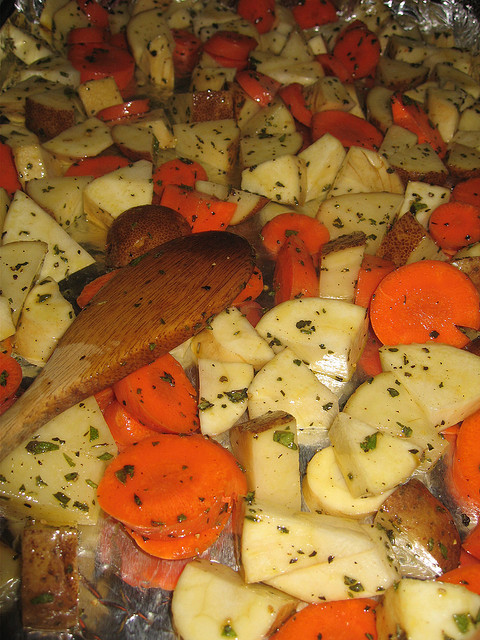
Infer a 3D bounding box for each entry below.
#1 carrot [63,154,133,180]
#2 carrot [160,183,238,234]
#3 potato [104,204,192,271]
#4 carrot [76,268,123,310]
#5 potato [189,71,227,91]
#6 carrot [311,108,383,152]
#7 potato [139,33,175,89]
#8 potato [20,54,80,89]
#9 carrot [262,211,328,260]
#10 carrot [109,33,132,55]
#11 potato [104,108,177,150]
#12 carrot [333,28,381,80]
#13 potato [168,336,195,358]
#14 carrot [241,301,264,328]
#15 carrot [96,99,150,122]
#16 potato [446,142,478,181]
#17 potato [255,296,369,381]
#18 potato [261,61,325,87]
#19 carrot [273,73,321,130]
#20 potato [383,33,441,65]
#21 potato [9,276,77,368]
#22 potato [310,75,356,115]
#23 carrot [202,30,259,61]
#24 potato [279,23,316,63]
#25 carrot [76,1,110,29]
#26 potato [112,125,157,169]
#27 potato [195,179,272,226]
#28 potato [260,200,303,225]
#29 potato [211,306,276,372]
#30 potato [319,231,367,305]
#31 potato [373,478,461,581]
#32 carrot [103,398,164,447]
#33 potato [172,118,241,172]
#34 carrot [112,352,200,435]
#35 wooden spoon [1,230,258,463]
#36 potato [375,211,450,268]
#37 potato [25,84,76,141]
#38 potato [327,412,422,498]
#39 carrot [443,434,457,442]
[{"bbox_3d":[-0.430,-0.451,1.912,0.151,0.015,0.099,-23,52,-19],"label":"carrot"},{"bbox_3d":[-0.150,-0.324,1.821,0.201,0.058,0.205,34,19,35],"label":"carrot"},{"bbox_3d":[-0.203,-0.230,1.749,0.230,0.200,0.118,-3,56,60],"label":"potato"},{"bbox_3d":[-0.339,-0.085,1.664,0.123,0.024,0.065,-21,66,-19],"label":"carrot"},{"bbox_3d":[-0.107,-0.778,2.136,0.102,0.034,0.101,25,40,15],"label":"potato"},{"bbox_3d":[0.327,-0.585,2.086,0.244,0.055,0.144,7,63,-12],"label":"carrot"},{"bbox_3d":[-0.275,-0.880,2.239,0.112,0.163,0.060,1,54,-27],"label":"potato"},{"bbox_3d":[-0.607,-0.806,2.112,0.174,0.043,0.140,-5,49,-8],"label":"potato"},{"bbox_3d":[0.155,-0.230,1.877,0.213,0.180,0.062,-18,68,19],"label":"carrot"},{"bbox_3d":[-0.417,-0.978,2.325,0.096,0.088,0.083,0,19,-7],"label":"carrot"},{"bbox_3d":[-0.309,-0.602,2.033,0.261,0.117,0.155,-10,24,-2],"label":"potato"},{"bbox_3d":[0.423,-0.939,2.369,0.222,0.187,0.108,11,23,16],"label":"carrot"},{"bbox_3d":[-0.147,0.066,1.618,0.047,0.053,0.016,-58,35,6],"label":"potato"},{"bbox_3d":[0.033,-0.020,1.744,0.071,0.065,0.063,1,5,11],"label":"carrot"},{"bbox_3d":[-0.374,-0.672,2.120,0.134,0.027,0.131,-19,12,-22],"label":"carrot"},{"bbox_3d":[0.648,-0.492,1.981,0.126,0.029,0.109,5,65,13],"label":"potato"},{"bbox_3d":[0.184,0.046,1.686,0.338,0.146,0.192,10,87,5],"label":"potato"},{"bbox_3d":[0.189,-0.849,2.246,0.181,0.036,0.109,10,49,6],"label":"potato"},{"bbox_3d":[0.222,-0.714,2.158,0.154,0.055,0.161,-18,59,-10],"label":"carrot"},{"bbox_3d":[0.611,-0.978,2.359,0.167,0.040,0.143,-14,47,-26],"label":"potato"},{"bbox_3d":[-0.462,-0.001,1.616,0.164,0.060,0.189,31,75,5],"label":"potato"},{"bbox_3d":[0.296,-0.730,2.118,0.144,0.082,0.178,-1,50,1],"label":"potato"},{"bbox_3d":[-0.038,-0.967,2.294,0.163,0.102,0.196,8,51,9],"label":"carrot"},{"bbox_3d":[0.208,-0.986,2.349,0.130,0.090,0.192,5,50,7],"label":"potato"},{"bbox_3d":[-0.513,-1.079,2.335,0.076,0.123,0.029,-47,41,-15],"label":"carrot"},{"bbox_3d":[-0.330,-0.515,1.948,0.155,0.038,0.183,6,33,-2],"label":"potato"},{"bbox_3d":[-0.013,-0.344,1.856,0.179,0.044,0.148,16,38,7],"label":"potato"},{"bbox_3d":[0.106,-0.319,1.915,0.090,0.028,0.083,-33,53,-32],"label":"potato"},{"bbox_3d":[0.006,0.050,1.616,0.186,0.043,0.100,41,68,7],"label":"potato"},{"bbox_3d":[0.264,-0.142,1.693,0.168,0.175,0.053,3,22,-3],"label":"potato"},{"bbox_3d":[0.407,0.458,1.436,0.239,0.098,0.208,-1,22,-9],"label":"potato"},{"bbox_3d":[-0.267,0.235,1.554,0.065,0.124,0.122,-52,25,4],"label":"carrot"},{"bbox_3d":[-0.095,-0.533,2.011,0.226,0.102,0.141,9,32,10],"label":"potato"},{"bbox_3d":[-0.174,0.173,1.507,0.194,0.080,0.207,50,30,14],"label":"carrot"},{"bbox_3d":[-0.223,0.010,1.629,0.981,0.126,0.225,-33,72,-24],"label":"wooden spoon"},{"bbox_3d":[0.468,-0.227,1.847,0.165,0.078,0.165,-48,68,18],"label":"potato"},{"bbox_3d":[-0.573,-0.613,1.959,0.209,0.128,0.113,15,28,36],"label":"potato"},{"bbox_3d":[0.261,0.300,1.423,0.205,0.081,0.158,26,56,23],"label":"potato"},{"bbox_3d":[0.506,0.283,1.580,0.024,0.020,0.014,-2,59,0],"label":"carrot"}]
